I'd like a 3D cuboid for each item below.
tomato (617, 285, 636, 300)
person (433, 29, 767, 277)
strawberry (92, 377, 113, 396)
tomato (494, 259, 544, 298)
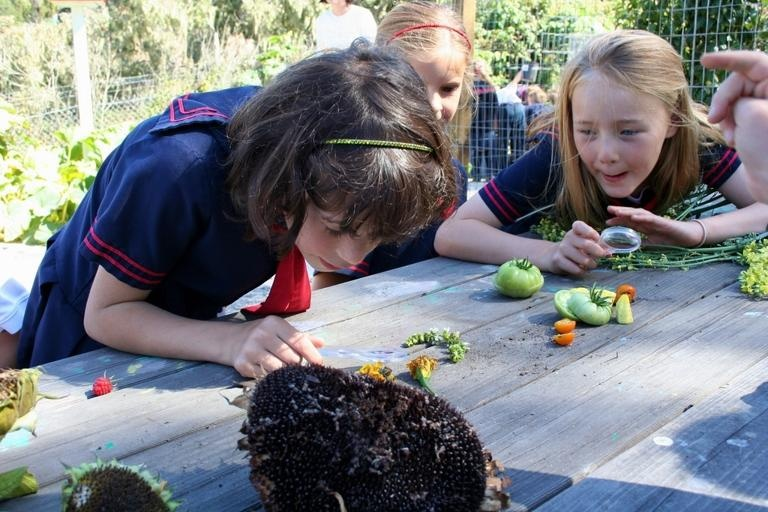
[{"bbox_3d":[0.955,0.138,2.199,0.069,0.069,0.068,-1,-9,-1],"label":"tomato"},{"bbox_3d":[1.179,-0.432,3.105,1.352,0.881,1.517,-2,9,12],"label":"person"},{"bbox_3d":[-0.852,0.394,1.684,0.044,0.046,0.057,5,12,16],"label":"strawberry"},{"bbox_3d":[0.543,0.089,2.262,0.166,0.166,0.168,2,1,5],"label":"tomato"}]
